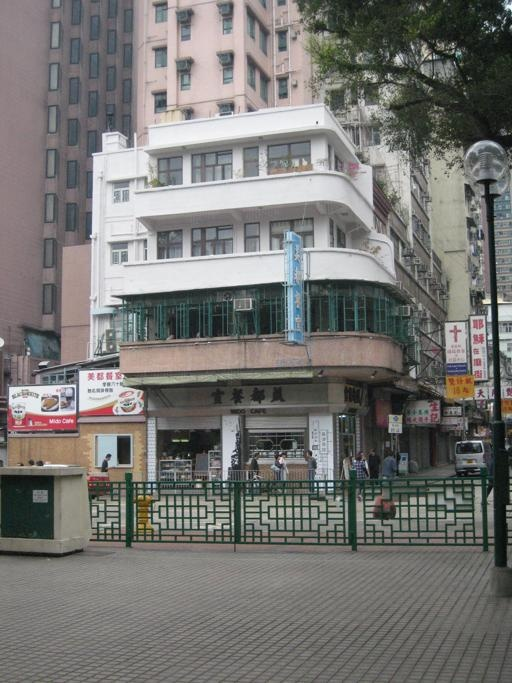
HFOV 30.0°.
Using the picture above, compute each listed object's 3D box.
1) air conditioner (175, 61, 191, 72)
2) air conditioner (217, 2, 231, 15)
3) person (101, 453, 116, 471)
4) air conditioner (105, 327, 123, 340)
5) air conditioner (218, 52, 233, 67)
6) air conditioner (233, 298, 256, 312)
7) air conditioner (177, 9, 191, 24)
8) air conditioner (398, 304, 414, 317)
[{"bbox_3d":[-4.036,-15.478,53.598,0.743,0.486,0.546,2,5,-3],"label":"air conditioner"},{"bbox_3d":[-1.654,-18.250,52.146,0.664,0.642,0.511,2,-5,-5],"label":"air conditioner"},{"bbox_3d":[-5.738,4.702,36.712,0.387,0.708,1.220,0,-9,-10],"label":"person"},{"bbox_3d":[-7.130,-0.287,47.761,0.763,0.757,0.998,1,-9,-15],"label":"air conditioner"},{"bbox_3d":[-1.628,-15.460,52.179,0.506,0.543,0.751,-10,-6,15],"label":"air conditioner"},{"bbox_3d":[-0.432,-1.264,32.863,0.657,0.454,0.504,-2,-7,16],"label":"air conditioner"},{"bbox_3d":[-3.983,-17.988,53.260,0.861,0.698,0.546,-2,-10,2],"label":"air conditioner"},{"bbox_3d":[6.093,-1.224,38.778,0.223,0.429,1.028,14,3,18],"label":"air conditioner"}]
